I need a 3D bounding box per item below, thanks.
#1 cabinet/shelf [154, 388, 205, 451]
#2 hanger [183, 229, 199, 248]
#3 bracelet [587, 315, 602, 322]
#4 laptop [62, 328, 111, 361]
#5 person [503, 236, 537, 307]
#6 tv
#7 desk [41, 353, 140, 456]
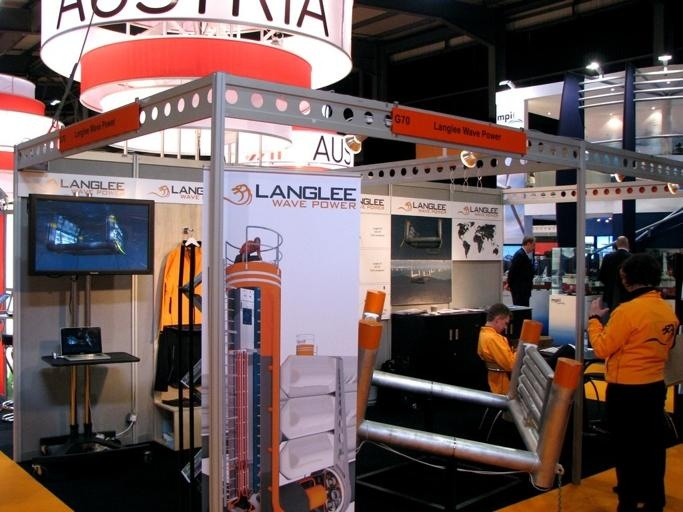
[{"bbox_3d":[-1.491,1.568,6.073,0.426,0.587,1.332,0,-1,-19],"label":"cabinet/shelf"},{"bbox_3d":[-1.391,-0.165,6.030,0.200,0.230,0.017,1,-7,-8],"label":"hanger"},{"bbox_3d":[1.927,0.476,4.964,0.057,0.044,0.058,-2,0,38],"label":"bracelet"},{"bbox_3d":[-2.308,0.775,5.883,0.369,0.262,0.404,0,-1,-28],"label":"laptop"},{"bbox_3d":[2.660,0.235,9.767,0.392,1.023,0.495,-1,-1,25],"label":"person"},{"bbox_3d":[-2.308,-0.183,5.917,0.744,0.539,0.075,0,1,-33],"label":"tv"},{"bbox_3d":[-2.343,1.360,6.032,0.753,0.948,0.852,0,-1,-29],"label":"desk"}]
